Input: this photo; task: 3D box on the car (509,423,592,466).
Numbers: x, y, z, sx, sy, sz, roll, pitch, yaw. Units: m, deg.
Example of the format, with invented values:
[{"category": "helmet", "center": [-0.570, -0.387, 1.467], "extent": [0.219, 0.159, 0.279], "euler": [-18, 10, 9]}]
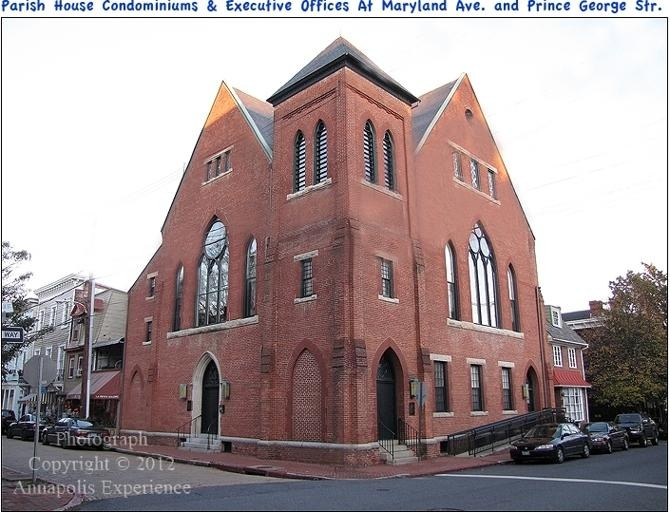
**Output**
[{"category": "car", "center": [9.007, 7.884, 20.679], "extent": [3.913, 1.577, 1.429], "euler": [16, -30, -35]}]

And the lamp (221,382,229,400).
[{"category": "lamp", "center": [-5.473, 6.727, 24.544], "extent": [0.349, 0.828, 0.600], "euler": [11, -27, -28]}]

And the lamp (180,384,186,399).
[{"category": "lamp", "center": [-8.266, 7.390, 26.778], "extent": [0.484, 0.781, 0.236], "euler": [-20, -29, 34]}]

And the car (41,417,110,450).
[{"category": "car", "center": [-14.129, 9.664, 26.473], "extent": [5.191, 1.692, 1.536], "euler": [-20, -29, 33]}]

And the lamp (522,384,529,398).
[{"category": "lamp", "center": [11.464, 8.209, 29.639], "extent": [0.285, 0.823, 0.920], "euler": [-14, -26, 25]}]
